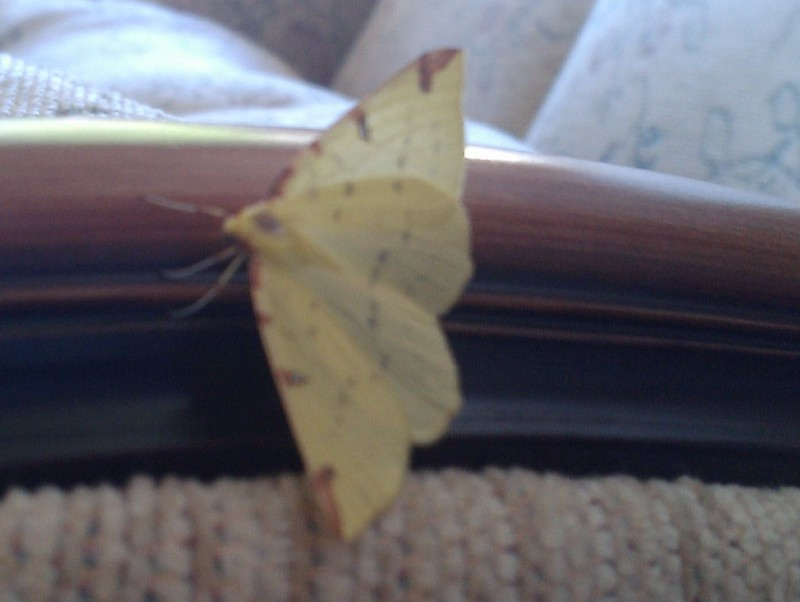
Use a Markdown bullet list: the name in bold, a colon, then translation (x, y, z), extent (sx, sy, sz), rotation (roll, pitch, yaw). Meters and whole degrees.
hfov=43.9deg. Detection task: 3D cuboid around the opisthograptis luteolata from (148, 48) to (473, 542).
- **opisthograptis luteolata**: translation (-0.075, -0.090, 0.807), extent (0.266, 0.417, 0.158), rotation (-20, 102, -17)
